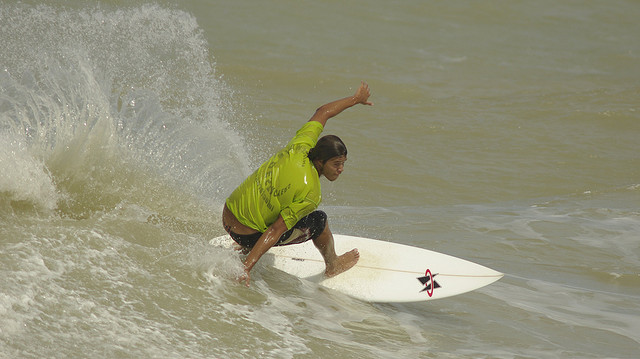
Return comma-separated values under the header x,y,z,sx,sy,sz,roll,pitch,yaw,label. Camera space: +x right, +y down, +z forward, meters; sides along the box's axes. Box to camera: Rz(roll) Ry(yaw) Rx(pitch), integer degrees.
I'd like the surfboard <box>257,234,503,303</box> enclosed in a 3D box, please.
x,y,z,sx,sy,sz,roll,pitch,yaw,label
0.758,1.342,14.063,5.248,0.396,0.935,12,95,-31,surfboard
